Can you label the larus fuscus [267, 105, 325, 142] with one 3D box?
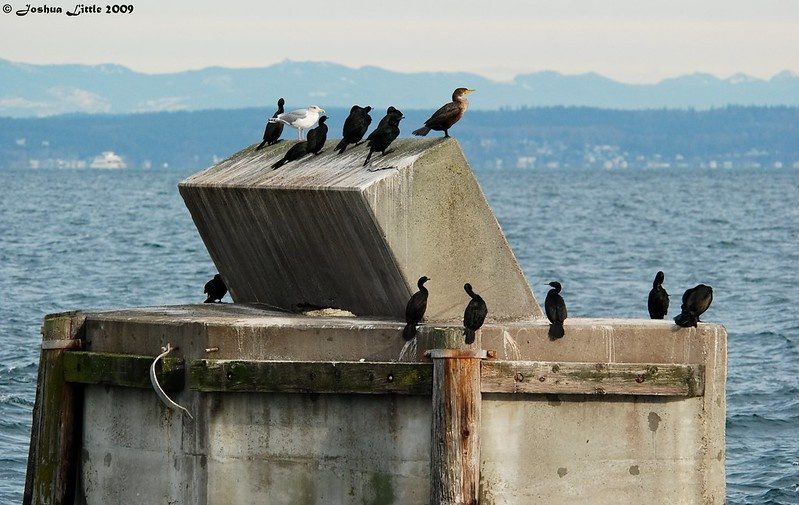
[{"bbox_3d":[-2.660,-3.490,56.843,1.635,0.897,0.567,4,16,19],"label":"larus fuscus"}]
